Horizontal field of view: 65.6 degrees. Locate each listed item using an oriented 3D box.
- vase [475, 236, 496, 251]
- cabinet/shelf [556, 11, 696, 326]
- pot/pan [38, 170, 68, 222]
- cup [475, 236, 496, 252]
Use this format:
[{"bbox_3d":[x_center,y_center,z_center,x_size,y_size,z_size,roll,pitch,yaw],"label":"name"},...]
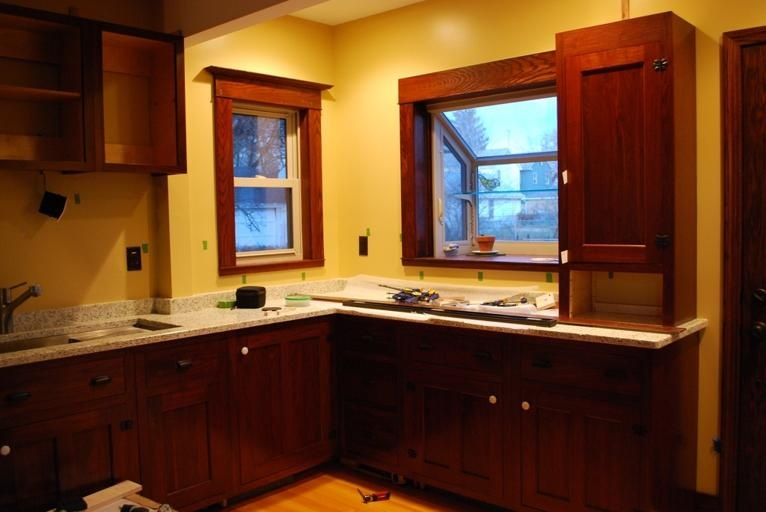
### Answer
[{"bbox_3d":[0.785,-0.102,4.510,0.107,0.080,0.106,-7,9,-39],"label":"vase"},{"bbox_3d":[1.436,-0.476,3.509,0.758,1.722,0.424,2,4,28],"label":"cabinet/shelf"},{"bbox_3d":[-2.093,-0.387,3.771,0.162,0.302,0.063,-2,4,-25],"label":"pot/pan"},{"bbox_3d":[0.776,-0.101,4.525,0.125,0.094,0.124,-2,5,0],"label":"cup"}]
